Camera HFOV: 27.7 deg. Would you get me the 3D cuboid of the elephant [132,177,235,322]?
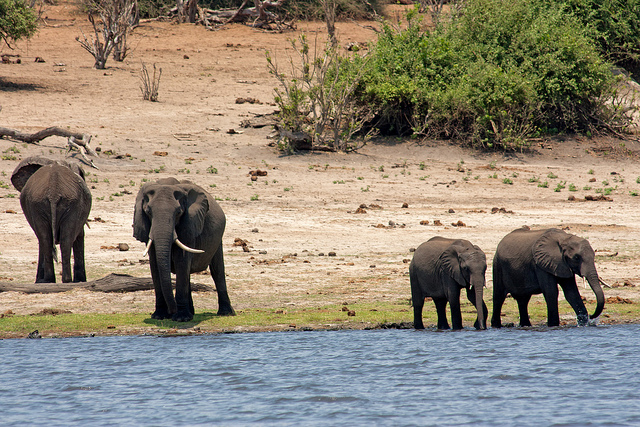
[{"bbox_3d":[-4.263,1.108,38.463,2.586,3.885,4.889,-2,-1,8],"label":"elephant"}]
